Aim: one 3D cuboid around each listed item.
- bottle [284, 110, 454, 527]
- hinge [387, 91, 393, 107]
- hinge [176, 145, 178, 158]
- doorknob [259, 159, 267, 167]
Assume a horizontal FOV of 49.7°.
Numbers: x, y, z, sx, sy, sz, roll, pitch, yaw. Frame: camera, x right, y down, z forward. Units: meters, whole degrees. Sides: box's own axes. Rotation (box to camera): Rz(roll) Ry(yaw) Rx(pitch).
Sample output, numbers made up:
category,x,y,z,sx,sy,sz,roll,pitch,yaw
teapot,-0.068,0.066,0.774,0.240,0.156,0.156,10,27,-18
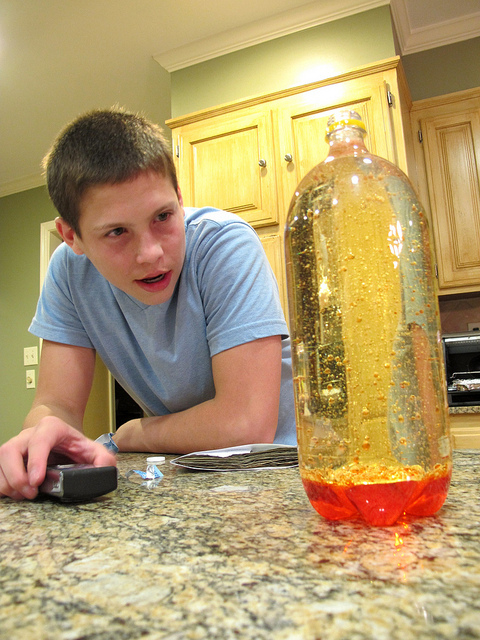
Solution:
category,x,y,z,sx,sy,sz,roll,pitch,yaw
bottle,0.084,-0.006,0.351,0.103,0.268,0.095,-5,-2,0
hinge,0.543,-0.798,1.867,0.014,0.057,0.010,-1,-9,-12
hinge,-0.276,-0.748,2.289,0.010,0.047,0.003,-9,-10,33
doorknob,0.094,-0.630,2.078,0.021,0.026,0.026,-3,-17,-4
